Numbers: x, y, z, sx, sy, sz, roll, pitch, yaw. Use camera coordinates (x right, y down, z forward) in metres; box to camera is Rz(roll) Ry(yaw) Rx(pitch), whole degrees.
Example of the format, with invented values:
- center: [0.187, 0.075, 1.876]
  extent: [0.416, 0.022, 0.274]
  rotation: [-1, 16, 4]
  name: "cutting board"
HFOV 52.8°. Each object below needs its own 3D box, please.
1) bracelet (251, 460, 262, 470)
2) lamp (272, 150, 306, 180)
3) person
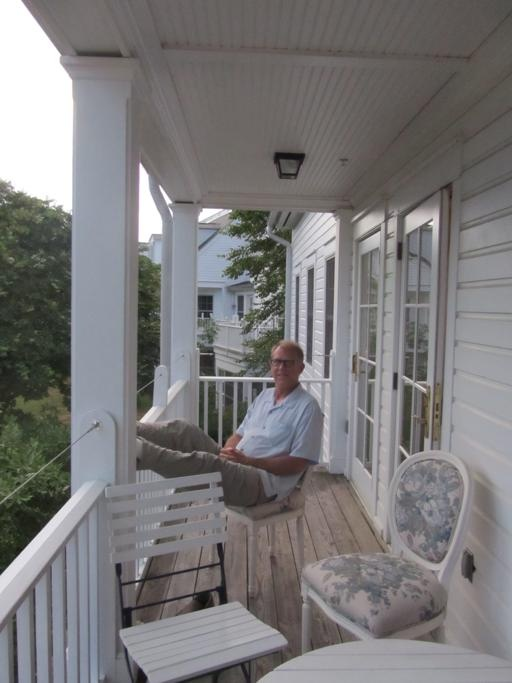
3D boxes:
- center: [0.006, 0.590, 2.451]
  extent: [0.029, 0.040, 0.040]
  rotation: [2, -2, -8]
  name: "bracelet"
- center: [0.184, -1.001, 2.931]
  extent: [0.112, 0.091, 0.102]
  rotation: [1, -18, 0]
  name: "lamp"
- center: [-0.185, 0.373, 2.570]
  extent: [1.106, 0.874, 0.562]
  rotation: [11, -3, -36]
  name: "person"
